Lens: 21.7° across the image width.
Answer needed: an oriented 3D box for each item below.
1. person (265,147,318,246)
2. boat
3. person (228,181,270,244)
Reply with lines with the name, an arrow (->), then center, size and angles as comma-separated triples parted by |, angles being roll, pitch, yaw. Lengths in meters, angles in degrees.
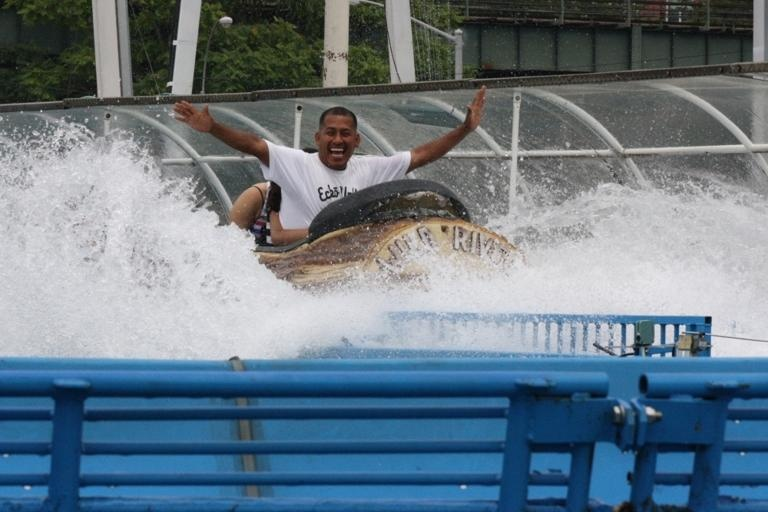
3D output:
person -> -1.947, -0.801, 38.464 | 0.786, 1.231, 1.200 | -5, -29, 46
boat -> -0.255, -0.361, 39.779 | 4.209, 1.893, 5.923 | 0, 2, -31
person -> -2.572, -0.982, 39.505 | 0.866, 1.416, 1.097 | -1, 13, -22
